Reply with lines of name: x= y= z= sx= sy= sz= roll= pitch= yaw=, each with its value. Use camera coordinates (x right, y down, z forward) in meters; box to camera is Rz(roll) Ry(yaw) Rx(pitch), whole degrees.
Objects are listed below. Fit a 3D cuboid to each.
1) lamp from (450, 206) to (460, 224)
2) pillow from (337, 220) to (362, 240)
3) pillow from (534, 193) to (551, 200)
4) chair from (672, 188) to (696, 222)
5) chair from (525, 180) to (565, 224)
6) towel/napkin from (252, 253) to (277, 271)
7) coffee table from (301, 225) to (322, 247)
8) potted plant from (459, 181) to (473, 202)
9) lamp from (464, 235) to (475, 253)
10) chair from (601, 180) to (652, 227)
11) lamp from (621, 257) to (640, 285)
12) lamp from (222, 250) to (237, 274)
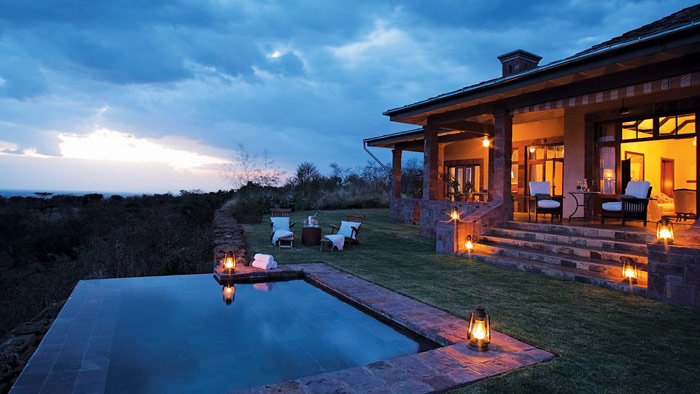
lamp: x=4.131 y=0.647 z=13.233 sx=0.312 sy=0.509 sz=0.604 roll=0 pitch=0 yaw=19
pillow: x=0.018 y=1.383 z=14.351 sx=1.153 sy=0.971 sz=0.765 roll=5 pitch=-15 yaw=19
pillow: x=7.858 y=-0.018 z=13.672 sx=0.631 sy=0.192 sz=0.380 roll=0 pitch=-1 yaw=7
chair: x=12.859 y=0.251 z=12.942 sx=1.091 sy=1.181 sz=1.246 roll=3 pitch=1 yaw=42
chair: x=8.010 y=0.128 z=13.877 sx=1.081 sy=1.225 sz=1.301 roll=0 pitch=0 yaw=15
towel/napkin: x=-2.803 y=2.062 z=11.057 sx=0.595 sy=0.343 sz=0.597 roll=6 pitch=2 yaw=40
coffee table: x=-1.688 y=1.645 z=14.470 sx=0.903 sy=0.650 sz=0.880 roll=1 pitch=-2 yaw=25
potted plant: x=5.891 y=-0.312 z=17.077 sx=0.643 sy=0.789 sz=1.803 roll=0 pitch=-1 yaw=19
lamp: x=4.605 y=1.782 z=12.821 sx=0.409 sy=0.545 sz=0.334 roll=0 pitch=0 yaw=-12
chair: x=10.099 y=0.251 z=12.614 sx=1.980 sy=1.806 sz=1.536 roll=2 pitch=-5 yaw=-15
lamp: x=8.199 y=2.138 z=9.858 sx=0.358 sy=0.530 sz=0.475 roll=0 pitch=0 yaw=42
lamp: x=-3.867 y=2.065 z=10.743 sx=0.349 sy=0.719 sz=0.345 roll=1 pitch=0 yaw=-23
